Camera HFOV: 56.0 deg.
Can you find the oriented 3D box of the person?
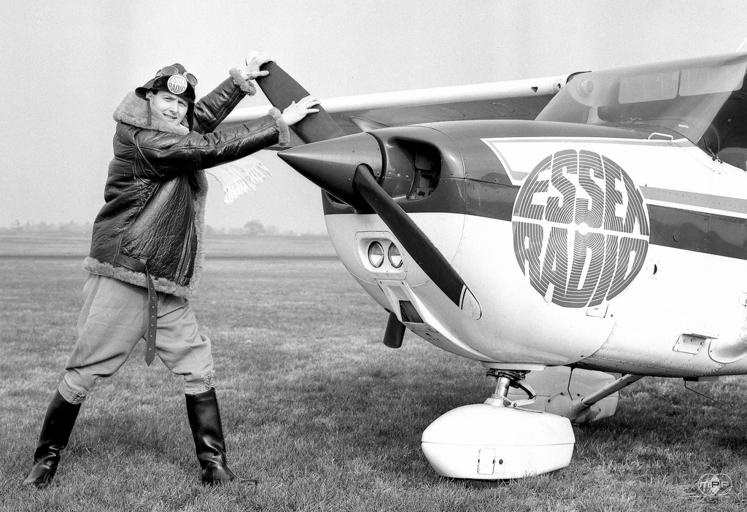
[{"bbox_3d":[-1.252,0.022,4.250,1.455,2.579,0.733,1,6,-7],"label":"person"}]

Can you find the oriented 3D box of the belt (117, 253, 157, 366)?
[{"bbox_3d":[-1.340,0.319,4.074,0.207,0.628,0.281,-4,8,-43],"label":"belt"}]

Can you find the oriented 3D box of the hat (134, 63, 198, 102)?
[{"bbox_3d":[-1.235,-1.077,4.319,0.385,0.188,0.468,-8,17,-23],"label":"hat"}]
